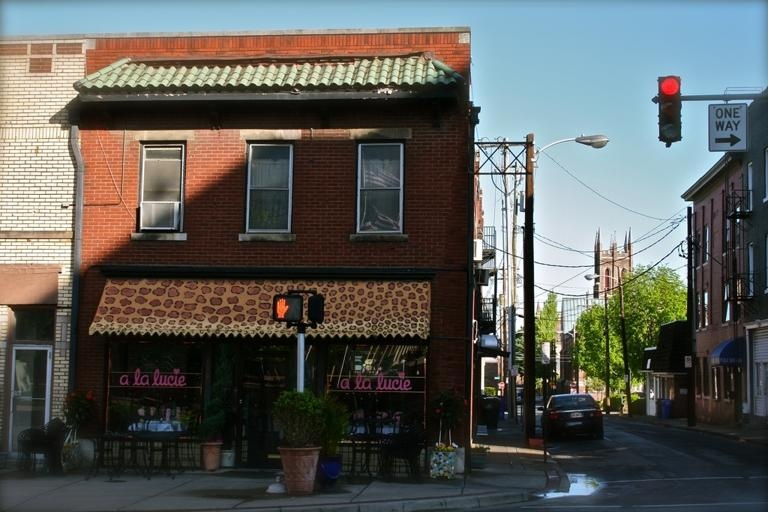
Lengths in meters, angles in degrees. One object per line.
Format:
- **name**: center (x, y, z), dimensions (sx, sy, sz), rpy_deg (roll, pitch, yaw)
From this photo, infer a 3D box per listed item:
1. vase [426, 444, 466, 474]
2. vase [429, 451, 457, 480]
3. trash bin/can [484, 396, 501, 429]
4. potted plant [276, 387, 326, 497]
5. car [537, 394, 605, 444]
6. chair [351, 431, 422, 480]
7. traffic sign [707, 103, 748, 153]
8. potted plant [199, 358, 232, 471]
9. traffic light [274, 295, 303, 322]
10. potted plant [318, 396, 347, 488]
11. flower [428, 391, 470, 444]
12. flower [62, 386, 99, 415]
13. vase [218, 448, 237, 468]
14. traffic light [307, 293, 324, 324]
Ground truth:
- **vase**: center (1.830, 5.940, 34.291), dimensions (1.314, 0.917, 0.708), rpy_deg (1, -2, -1)
- **vase**: center (1.685, 5.959, 34.000), dimensions (0.756, 0.724, 0.737), rpy_deg (2, -6, -8)
- **trash bin/can**: center (4.535, 6.625, 50.443), dimensions (0.601, 1.378, 1.920), rpy_deg (-1, -11, 8)
- **potted plant**: center (-2.296, 5.053, 32.083), dimensions (1.381, 2.703, 1.133), rpy_deg (4, -11, -19)
- **car**: center (7.558, 6.337, 48.020), dimensions (2.247, 1.644, 5.194), rpy_deg (-4, -2, 4)
- **chair**: center (0.048, 5.738, 34.239), dimensions (2.086, 1.291, 0.727), rpy_deg (-6, -13, 30)
- **traffic sign**: center (9.312, -3.439, 32.262), dimensions (1.048, 1.349, 0.156), rpy_deg (1, 20, 21)
- **potted plant**: center (-4.920, 4.680, 35.183), dimensions (1.071, 2.991, 0.958), rpy_deg (-1, 2, -14)
- **traffic light**: center (-2.535, 1.404, 31.568), dimensions (0.938, 0.862, 0.641), rpy_deg (0, -4, -3)
- **potted plant**: center (-1.394, 5.150, 32.756), dimensions (0.882, 2.176, 0.866), rpy_deg (0, 6, 15)
- **flower**: center (1.910, 4.670, 34.687), dimensions (1.325, 1.578, 0.904), rpy_deg (-1, 3, 17)
- **flower**: center (-8.932, 4.356, 35.010), dimensions (0.924, 0.999, 0.397), rpy_deg (2, -11, -10)
- **vase**: center (-4.620, 5.955, 35.040), dimensions (0.493, 0.495, 0.485), rpy_deg (0, -7, 2)
- **traffic light**: center (-1.828, 1.406, 31.470), dimensions (0.415, 0.811, 0.372), rpy_deg (2, -11, -9)
